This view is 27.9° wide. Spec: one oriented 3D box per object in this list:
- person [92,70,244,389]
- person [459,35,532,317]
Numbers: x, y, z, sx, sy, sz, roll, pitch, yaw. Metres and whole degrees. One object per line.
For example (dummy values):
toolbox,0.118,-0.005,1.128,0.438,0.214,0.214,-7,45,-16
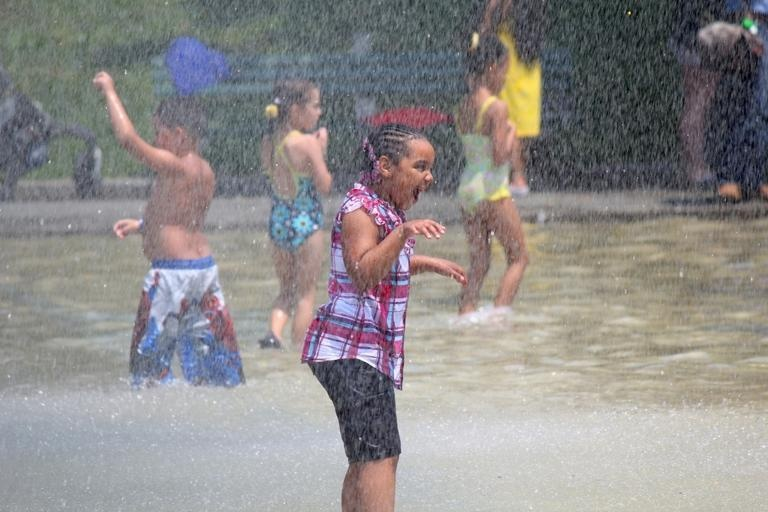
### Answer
person,-1.577,-0.152,11.912,1.004,2.353,0.594,-1,12,-9
person,0.925,-0.677,13.172,0.602,2.368,0.675,1,12,2
